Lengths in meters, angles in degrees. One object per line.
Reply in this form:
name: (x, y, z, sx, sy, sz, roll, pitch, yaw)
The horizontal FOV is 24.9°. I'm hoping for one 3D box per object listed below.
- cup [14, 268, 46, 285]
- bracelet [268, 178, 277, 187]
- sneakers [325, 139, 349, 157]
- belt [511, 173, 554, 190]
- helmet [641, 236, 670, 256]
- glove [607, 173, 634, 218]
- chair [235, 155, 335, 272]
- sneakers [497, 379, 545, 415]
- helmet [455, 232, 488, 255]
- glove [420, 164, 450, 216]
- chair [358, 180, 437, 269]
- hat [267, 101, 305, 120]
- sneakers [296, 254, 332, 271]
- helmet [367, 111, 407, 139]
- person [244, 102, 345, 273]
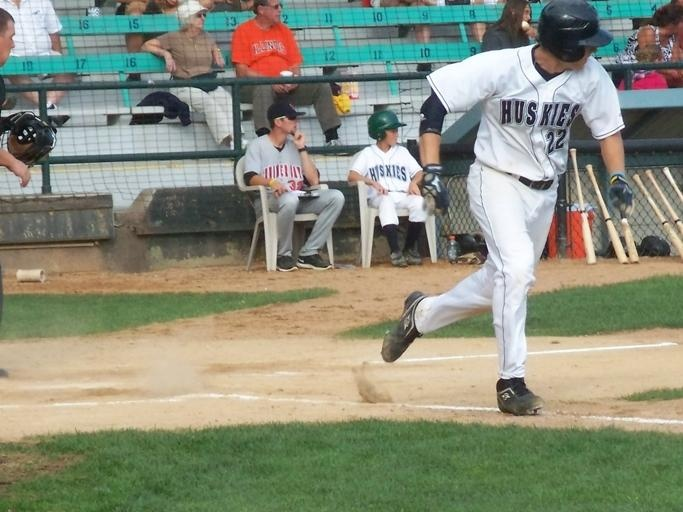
cup: (-3.391, 0.219, 16.965, 0.273, 0.148, 0.154, 3, -20, -4)
bracelet: (-0.762, -0.820, 17.227, 0.080, 0.062, 0.082, 0, 6, 0)
sneakers: (-0.072, -1.317, 18.684, 0.124, 0.170, 0.373, -1, 1, -13)
belt: (1.582, -0.597, 12.639, 0.200, 0.055, 0.185, 16, 4, 28)
helmet: (3.912, -0.132, 19.228, 0.237, 0.283, 0.309, -2, -9, -32)
glove: (2.287, -0.530, 12.795, 0.150, 0.417, 0.178, -30, -39, 22)
chair: (-0.653, -0.505, 17.621, 0.889, 1.028, 0.910, 1, -6, 11)
sneakers: (1.448, 1.137, 12.577, 0.227, 0.297, 0.596, -9, 7, -23)
helmet: (1.523, -0.150, 18.291, 0.337, 0.226, 0.324, 26, -11, -39)
glove: (0.766, -0.542, 12.589, 0.208, 0.402, 0.173, -3, 7, 5)
chair: (0.807, -0.289, 18.128, 0.655, 0.793, 0.692, 4, 22, 13)
hat: (-0.655, -1.653, 17.346, 0.296, 0.155, 0.202, 4, 14, 5)
sneakers: (-0.314, 0.076, 17.500, 0.419, 0.191, 0.164, 2, 2, -8)
helmet: (0.487, -1.558, 18.073, 0.372, 0.296, 0.304, 10, 12, 15)
person: (-0.546, -0.803, 17.488, 1.095, 1.896, 0.700, -2, 6, -4)
